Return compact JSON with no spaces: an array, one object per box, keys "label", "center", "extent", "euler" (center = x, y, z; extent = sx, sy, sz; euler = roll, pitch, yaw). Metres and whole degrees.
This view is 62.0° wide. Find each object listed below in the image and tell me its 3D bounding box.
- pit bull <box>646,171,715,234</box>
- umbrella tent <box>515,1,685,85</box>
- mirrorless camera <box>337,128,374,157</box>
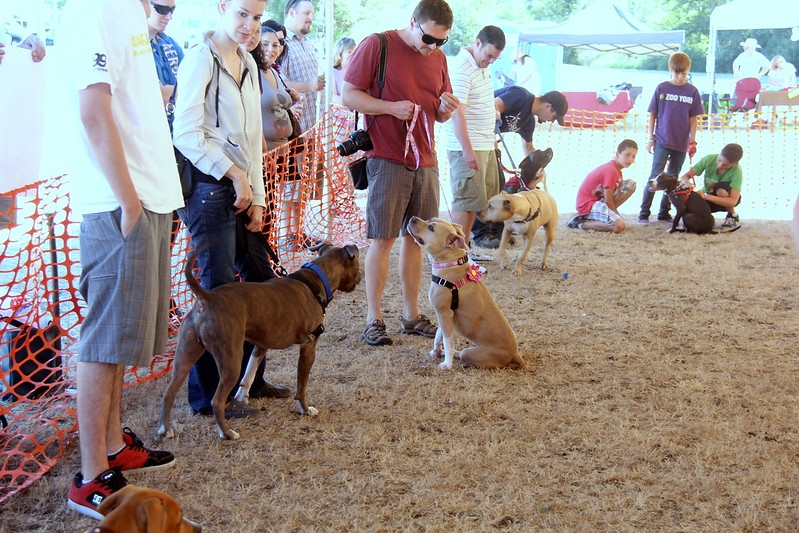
[{"label":"pit bull","center":[3.939,-0.861,9.150],"extent":[0.965,0.764,0.471],"euler":[11,27,26]},{"label":"umbrella tent","center":[5.607,-6.113,17.567],"extent":[2.973,1.355,3.105],"euler":[8,11,26]},{"label":"mirrorless camera","center":[-0.360,-0.966,5.251],"extent":[0.226,0.136,0.226],"euler":[-32,14,-6]}]
